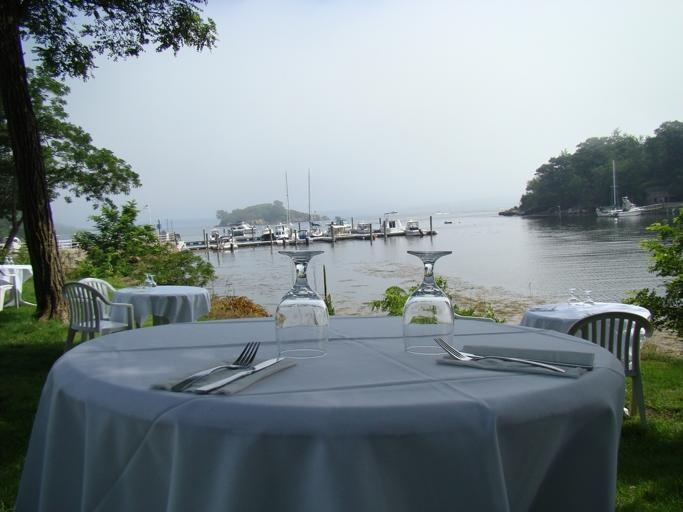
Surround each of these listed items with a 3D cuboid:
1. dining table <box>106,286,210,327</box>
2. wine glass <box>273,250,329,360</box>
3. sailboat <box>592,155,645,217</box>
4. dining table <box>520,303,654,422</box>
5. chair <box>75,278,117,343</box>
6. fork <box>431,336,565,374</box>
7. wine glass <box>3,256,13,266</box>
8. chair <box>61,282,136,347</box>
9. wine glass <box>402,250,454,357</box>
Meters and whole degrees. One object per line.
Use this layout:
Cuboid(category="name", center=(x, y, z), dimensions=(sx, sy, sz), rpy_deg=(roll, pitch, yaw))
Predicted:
Cuboid(category="dining table", center=(-2.110, 0.515, 6.109), dimensions=(1.056, 0.677, 0.973), rpy_deg=(8, 4, 36))
Cuboid(category="wine glass", center=(-0.144, 0.163, 1.826), dimensions=(0.171, 0.373, 0.189), rpy_deg=(-1, 2, -6))
Cuboid(category="sailboat", center=(38.613, -9.664, 70.528), dimensions=(5.124, 8.891, 10.582), rpy_deg=(-2, 1, 28))
Cuboid(category="dining table", center=(1.914, 0.590, 4.061), dimensions=(1.034, 1.085, 1.059), rpy_deg=(2, 1, 19))
Cuboid(category="chair", center=(-2.424, 0.527, 4.995), dimensions=(0.330, 0.790, 0.375), rpy_deg=(-4, 9, -41))
Cuboid(category="fork", center=(0.527, 0.335, 1.715), dimensions=(0.384, 0.064, 0.058), rpy_deg=(1, -13, 32))
Cuboid(category="wine glass", center=(-8.734, 0.119, 13.309), dimensions=(0.182, 0.092, 0.311), rpy_deg=(1, 24, -9))
Cuboid(category="chair", center=(-2.321, 0.539, 4.848), dimensions=(0.538, 0.763, 0.521), rpy_deg=(8, 8, 43))
Cuboid(category="wine glass", center=(0.311, 0.158, 1.861), dimensions=(0.167, 0.358, 0.191), rpy_deg=(-1, 1, -1))
